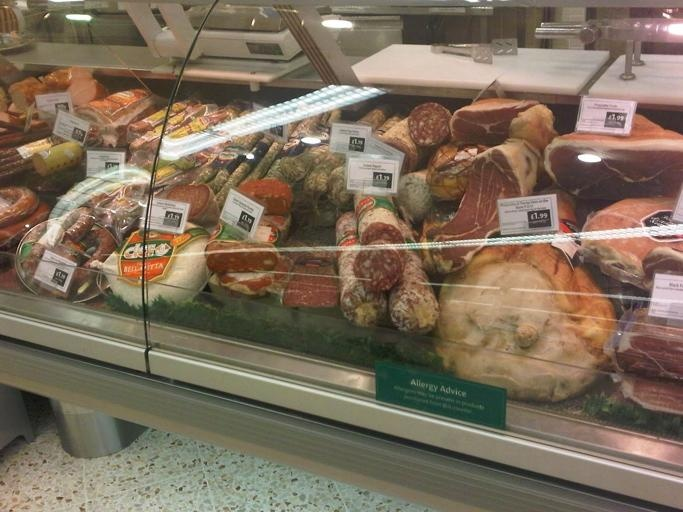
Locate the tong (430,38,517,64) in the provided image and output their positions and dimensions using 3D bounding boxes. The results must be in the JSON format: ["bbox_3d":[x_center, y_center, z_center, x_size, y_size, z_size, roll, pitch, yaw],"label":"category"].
[{"bbox_3d":[0.323,-0.494,1.139,0.134,0.028,0.096,7,28,14],"label":"tong"}]
